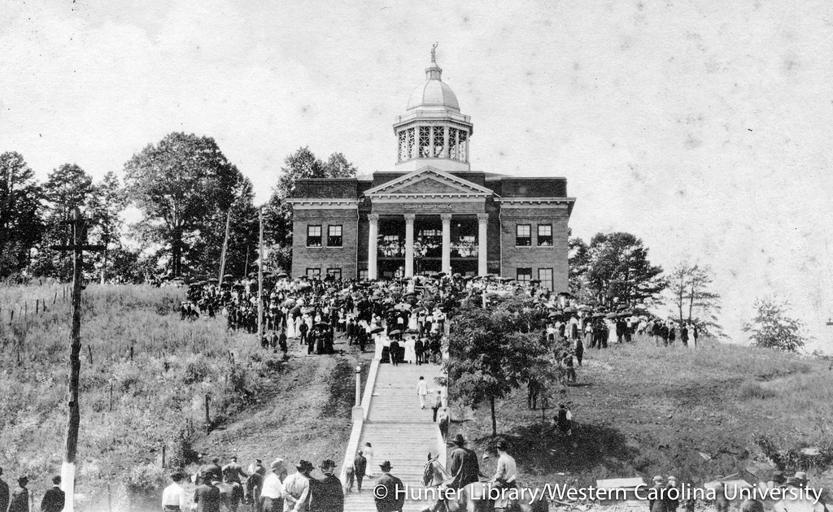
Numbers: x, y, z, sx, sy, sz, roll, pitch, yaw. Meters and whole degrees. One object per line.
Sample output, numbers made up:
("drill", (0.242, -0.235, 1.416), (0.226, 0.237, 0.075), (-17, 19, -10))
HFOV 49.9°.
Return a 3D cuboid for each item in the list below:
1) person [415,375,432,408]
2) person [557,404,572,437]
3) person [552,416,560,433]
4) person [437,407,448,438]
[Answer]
("person", (0.325, 8.190, 53.500), (0.648, 1.908, 0.881), (1, -6, 1))
("person", (8.299, 9.207, 50.155), (0.894, 1.681, 0.540), (5, -7, -33))
("person", (7.828, 9.481, 50.503), (0.379, 0.816, 0.473), (-7, 2, 11))
("person", (1.465, 9.331, 49.815), (0.552, 1.746, 1.429), (0, -6, 4))
